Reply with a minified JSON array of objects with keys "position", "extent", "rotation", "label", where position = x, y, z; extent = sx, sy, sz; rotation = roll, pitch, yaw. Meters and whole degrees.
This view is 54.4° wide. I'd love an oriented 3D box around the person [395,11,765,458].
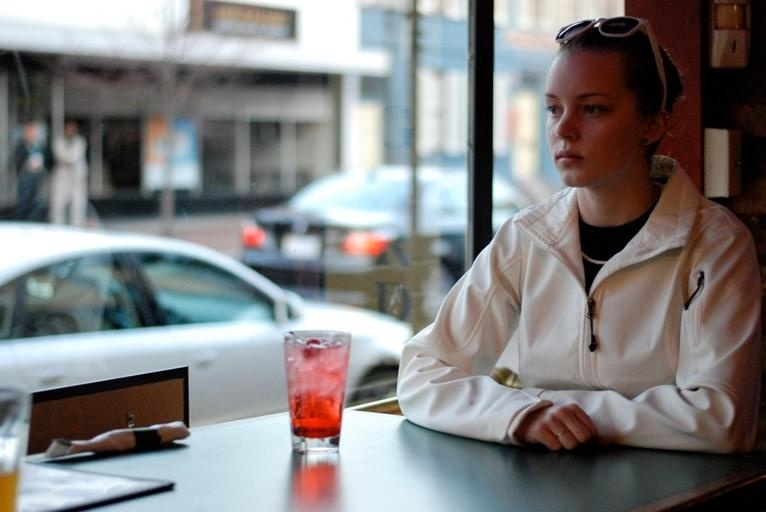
[{"position":[0.471,-0.060,1.714],"extent":[0.842,0.965,0.616],"rotation":[0,14,0],"label":"person"}]
